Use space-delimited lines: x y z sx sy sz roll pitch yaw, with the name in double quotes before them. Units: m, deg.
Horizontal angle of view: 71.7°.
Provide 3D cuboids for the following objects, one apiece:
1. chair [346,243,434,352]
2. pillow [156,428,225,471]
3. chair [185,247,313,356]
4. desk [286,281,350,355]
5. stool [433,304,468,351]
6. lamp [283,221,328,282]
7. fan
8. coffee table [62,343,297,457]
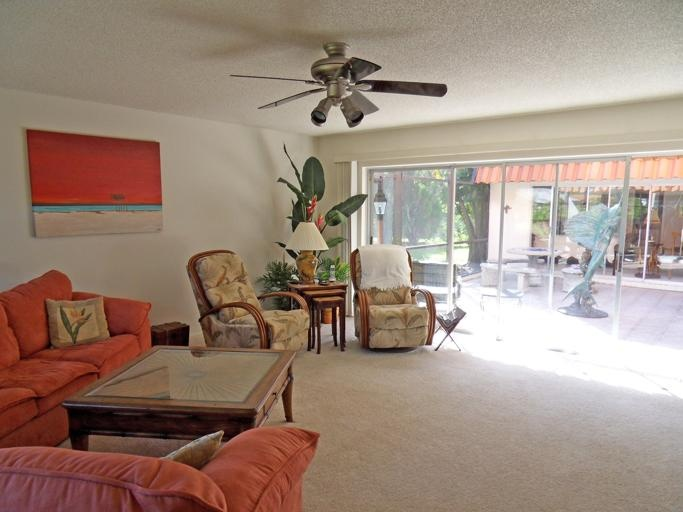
"chair" 0.600 0.502 5.659 0.911 1.136 0.864 -1 13 -5
"pillow" -0.667 0.825 2.082 0.182 0.054 0.189 -41 -24 3
"chair" -0.988 0.538 5.040 1.147 1.015 0.845 6 8 27
"desk" -0.155 0.793 5.745 0.561 0.661 0.773 -2 0 -1
"stool" 1.327 0.832 5.775 0.454 0.538 0.575 0 1 8
"lamp" -0.349 -0.034 5.735 0.659 0.854 0.665 0 -3 10
"fan" 0.106 -1.287 3.375 0.845 0.443 1.003 -9 15 -37
"coffee table" -1.045 0.923 3.153 0.920 0.392 0.916 2 11 6
